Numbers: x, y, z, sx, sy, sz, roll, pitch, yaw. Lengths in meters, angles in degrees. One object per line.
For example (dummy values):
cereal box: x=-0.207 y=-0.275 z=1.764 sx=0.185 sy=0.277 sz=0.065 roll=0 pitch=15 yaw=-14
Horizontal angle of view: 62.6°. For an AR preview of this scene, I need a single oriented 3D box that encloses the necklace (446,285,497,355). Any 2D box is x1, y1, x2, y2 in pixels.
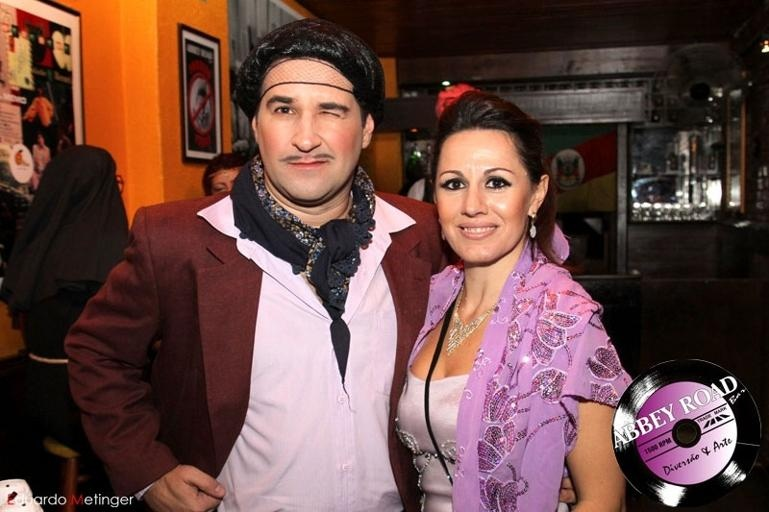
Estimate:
necklace: x=0.356 y=0.271 z=2.666 sx=0.136 sy=0.245 sz=0.019 roll=11 pitch=-21 yaw=49
